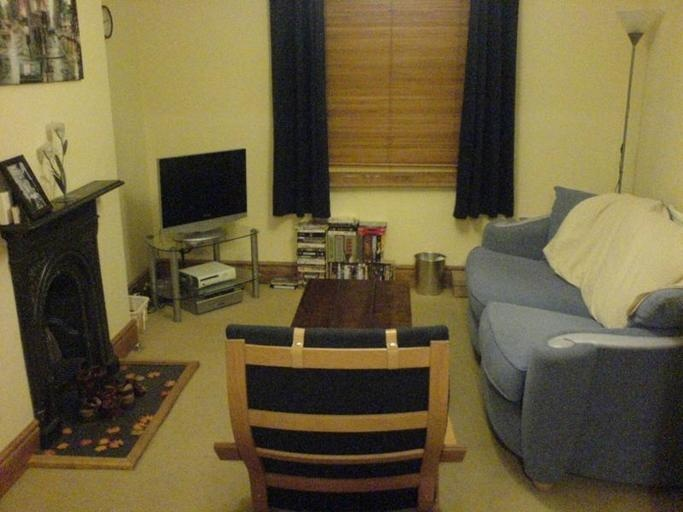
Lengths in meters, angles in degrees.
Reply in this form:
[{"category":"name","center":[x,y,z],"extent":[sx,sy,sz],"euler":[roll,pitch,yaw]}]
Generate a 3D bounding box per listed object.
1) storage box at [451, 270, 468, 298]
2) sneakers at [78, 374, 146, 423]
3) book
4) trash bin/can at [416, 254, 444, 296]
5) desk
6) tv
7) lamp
[{"category":"storage box","center":[1.019,0.289,5.008],"extent":[0.163,0.137,0.317],"euler":[-2,43,5]},{"category":"sneakers","center":[-1.383,0.838,3.396],"extent":[0.293,0.144,0.233],"euler":[10,12,33]},{"category":"book","center":[-0.055,-0.006,5.051],"extent":[1.011,0.602,0.135],"euler":[1,15,8]},{"category":"trash bin/can","center":[0.793,0.148,5.056],"extent":[0.270,0.334,0.261],"euler":[1,15,8]},{"category":"desk","center":[-1.171,0.141,4.746],"extent":[0.642,0.451,0.361],"euler":[-21,34,-39]},{"category":"tv","center":[-1.134,-0.488,4.641],"extent":[0.227,0.600,0.699],"euler":[16,25,40]},{"category":"lamp","center":[2.271,-1.222,4.542],"extent":[0.312,1.443,0.421],"euler":[1,15,11]}]
